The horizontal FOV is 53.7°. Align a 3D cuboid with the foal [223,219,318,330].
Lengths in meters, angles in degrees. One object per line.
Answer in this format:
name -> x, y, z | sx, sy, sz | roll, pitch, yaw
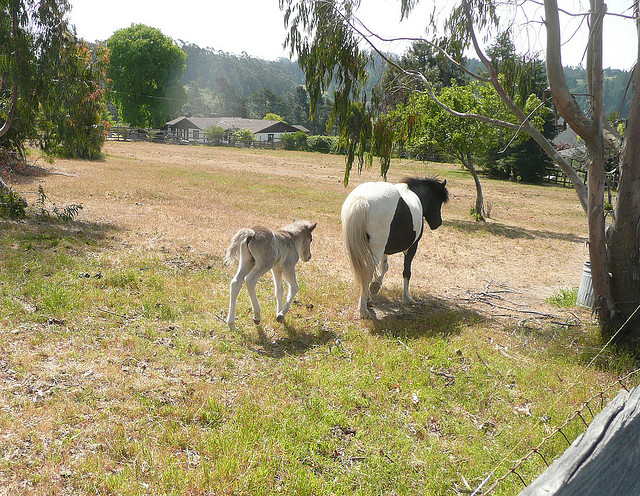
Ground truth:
foal -> -0.975, 0.518, 12.890 | 0.887, 2.026, 2.073 | 12, 12, 36
